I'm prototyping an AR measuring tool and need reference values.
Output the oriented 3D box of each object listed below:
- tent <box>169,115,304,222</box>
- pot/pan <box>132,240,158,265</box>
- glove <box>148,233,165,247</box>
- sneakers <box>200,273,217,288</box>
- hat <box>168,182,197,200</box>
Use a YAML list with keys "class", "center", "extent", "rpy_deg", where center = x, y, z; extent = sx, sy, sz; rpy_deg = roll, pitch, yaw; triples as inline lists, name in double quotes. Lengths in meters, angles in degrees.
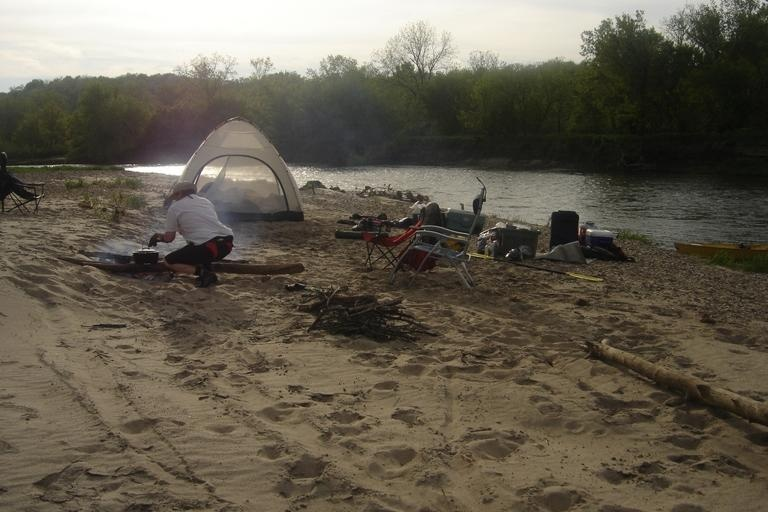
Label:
- class: "tent"
  center: [-3.528, -1.950, 15.092]
  extent: [3.176, 1.691, 2.868]
  rpy_deg: [1, 2, -7]
- class: "pot/pan"
  center: [-3.828, -0.115, 9.716]
  extent: [0.395, 0.381, 0.639]
  rpy_deg: [-1, 14, -21]
- class: "glove"
  center: [-3.847, -0.251, 10.260]
  extent: [0.316, 0.105, 0.216]
  rpy_deg: [-16, -4, -11]
- class: "sneakers"
  center: [-2.697, 0.352, 9.305]
  extent: [0.308, 0.202, 0.276]
  rpy_deg: [-1, 15, -21]
- class: "hat"
  center: [-3.231, -1.054, 9.784]
  extent: [0.400, 0.184, 0.266]
  rpy_deg: [-26, 11, 11]
